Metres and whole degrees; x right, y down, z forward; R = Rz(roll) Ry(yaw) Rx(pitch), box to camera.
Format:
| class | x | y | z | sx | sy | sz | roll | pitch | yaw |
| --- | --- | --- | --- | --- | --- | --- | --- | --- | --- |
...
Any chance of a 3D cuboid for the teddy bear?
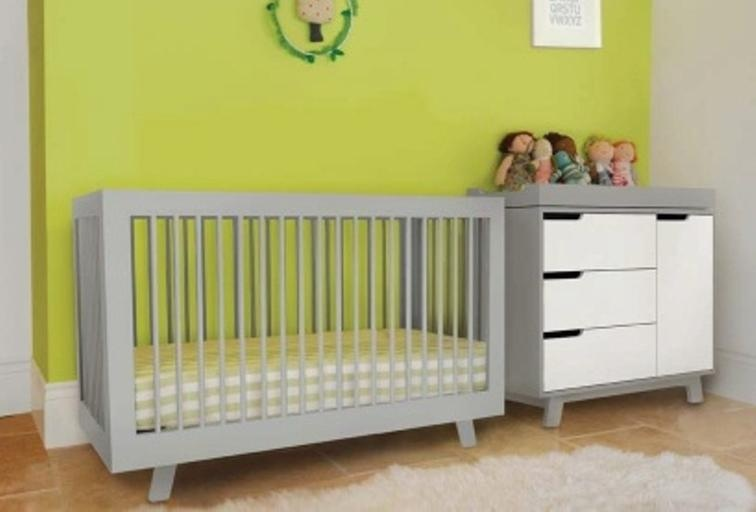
| class | x | y | z | sx | sy | sz | roll | pitch | yaw |
| --- | --- | --- | --- | --- | --- | --- | --- | --- | --- |
| teddy bear | 0.994 | -0.512 | 4.056 | 0.791 | 0.304 | 0.315 | -6 | 14 | -26 |

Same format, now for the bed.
| class | x | y | z | sx | sy | sz | roll | pitch | yaw |
| --- | --- | --- | --- | --- | --- | --- | --- | --- | --- |
| bed | -0.361 | 0.337 | 3.526 | 1.760 | 1.200 | 0.922 | -2 | 2 | -24 |

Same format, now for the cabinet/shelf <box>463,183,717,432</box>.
| class | x | y | z | sx | sy | sz | roll | pitch | yaw |
| --- | --- | --- | --- | --- | --- | --- | --- | --- | --- |
| cabinet/shelf | 1.118 | 0.227 | 3.967 | 1.144 | 1.139 | 0.586 | -1 | 1 | -26 |
